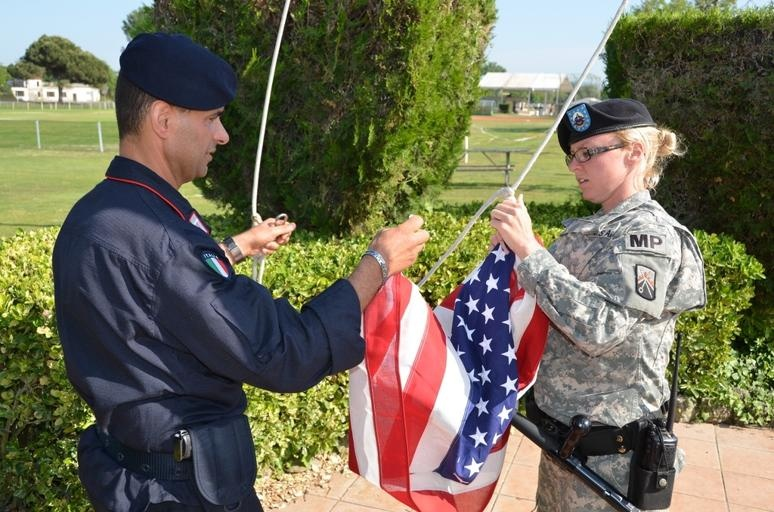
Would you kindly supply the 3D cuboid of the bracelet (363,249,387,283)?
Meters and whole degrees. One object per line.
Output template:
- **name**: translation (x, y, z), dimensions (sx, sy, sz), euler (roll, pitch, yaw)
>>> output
- **bracelet**: translation (-0.061, 0.043, 4.266), dimensions (0.035, 0.161, 0.142), euler (-27, 48, -9)

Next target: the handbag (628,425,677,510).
- **handbag**: translation (1.600, 1.277, 4.555), dimensions (0.228, 0.503, 0.128), euler (4, 10, -13)

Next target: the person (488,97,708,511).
- **person**: translation (1.302, 0.435, 4.678), dimensions (1.207, 2.823, 0.730), euler (9, 10, 16)

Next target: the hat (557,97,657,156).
- **hat**: translation (1.348, -0.861, 4.672), dimensions (0.418, 0.196, 0.344), euler (-11, -2, -11)
